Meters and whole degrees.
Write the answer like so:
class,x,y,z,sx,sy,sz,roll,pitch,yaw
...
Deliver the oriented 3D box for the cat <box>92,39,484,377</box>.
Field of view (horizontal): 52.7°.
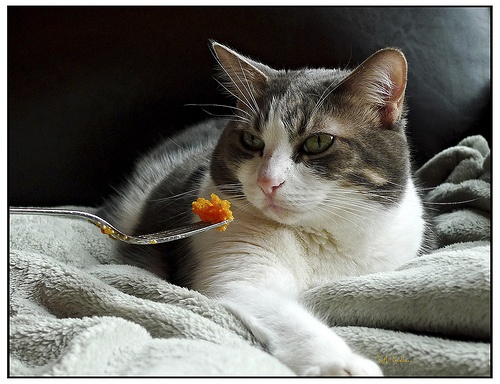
class,x,y,z,sx,sy,sz,roll,pitch,yaw
cat,0.089,0.021,1.448,0.654,0.552,1.090,2,2,-9
